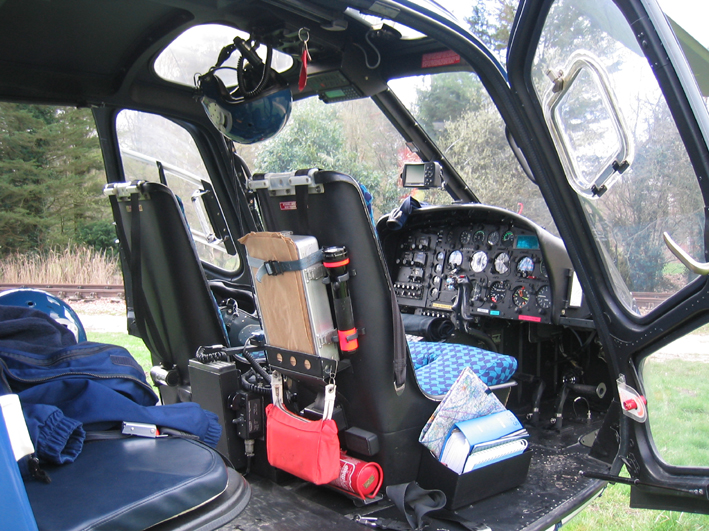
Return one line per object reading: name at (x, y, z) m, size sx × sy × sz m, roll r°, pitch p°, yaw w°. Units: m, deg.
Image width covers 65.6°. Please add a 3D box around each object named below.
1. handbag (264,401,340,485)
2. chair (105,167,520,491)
handbag at (-0.245, 0.855, 2.625) m, size 0.448 × 0.352 × 0.165 m, roll 1°, pitch 1°, yaw 44°
chair at (-0.170, 0.336, 2.987) m, size 0.959 × 1.212 × 1.663 m, roll -10°, pitch 12°, yaw -43°
